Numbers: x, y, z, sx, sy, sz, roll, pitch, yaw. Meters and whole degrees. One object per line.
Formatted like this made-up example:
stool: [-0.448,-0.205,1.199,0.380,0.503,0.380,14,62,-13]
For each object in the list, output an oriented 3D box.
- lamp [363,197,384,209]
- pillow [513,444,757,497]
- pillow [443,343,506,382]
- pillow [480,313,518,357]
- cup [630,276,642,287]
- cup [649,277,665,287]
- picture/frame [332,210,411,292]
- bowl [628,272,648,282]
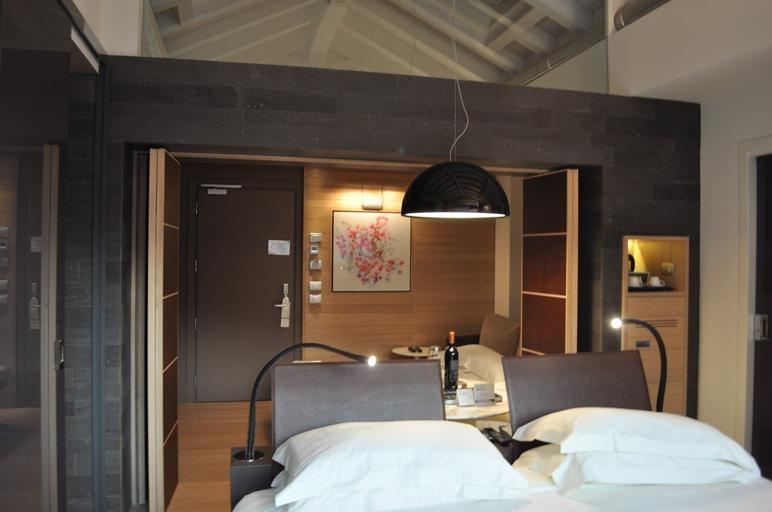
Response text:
lamp: [-0.146,-0.614,7.424,0.178,0.115,0.082,-3,-3,-6]
pillow: [1.547,1.355,4.085,0.851,0.150,0.563,2,-5,6]
pillow: [0.858,1.012,6.077,0.403,0.164,0.676,-7,7,-2]
pillow: [1.250,0.882,7.043,0.213,0.416,0.597,-1,9,-29]
cup: [2.191,0.219,5.659,0.108,0.079,0.070,3,-7,4]
cup: [2.422,0.234,5.778,0.084,0.101,0.129,2,-3,-38]
picture/frame: [-0.200,-0.065,7.403,0.908,0.904,0.092,2,-4,-20]
bowl: [2.243,0.175,5.723,0.137,0.105,0.107,2,0,37]
